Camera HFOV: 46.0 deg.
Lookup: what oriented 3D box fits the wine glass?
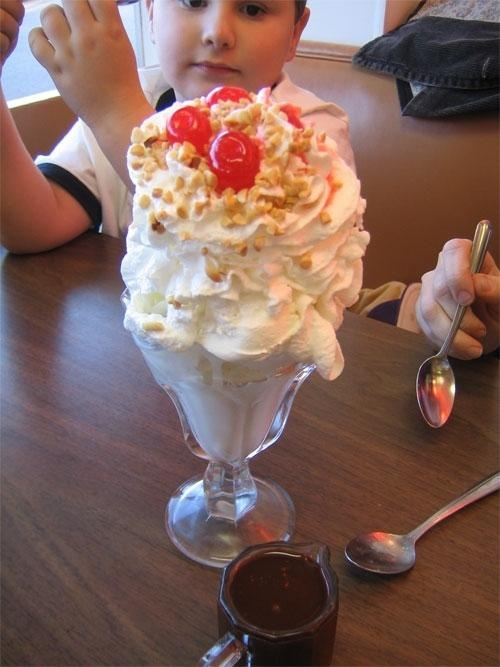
[{"bbox_3d":[-0.027,0.098,0.557,0.173,0.208,0.157,-15,46,-18],"label":"wine glass"}]
